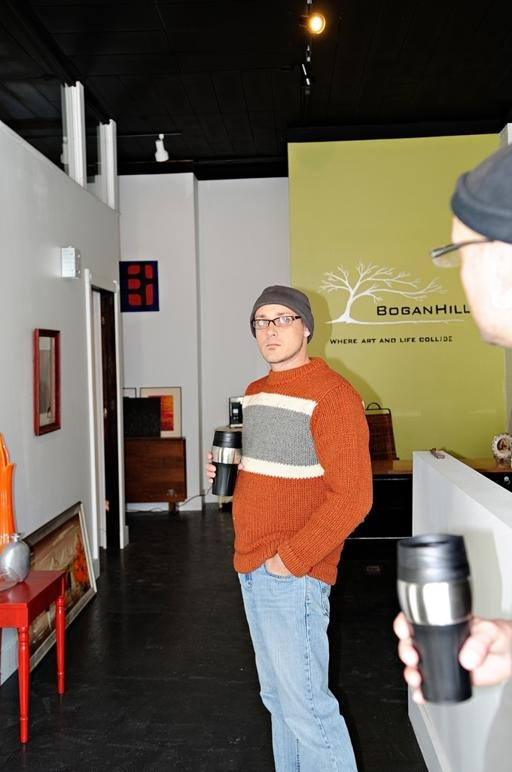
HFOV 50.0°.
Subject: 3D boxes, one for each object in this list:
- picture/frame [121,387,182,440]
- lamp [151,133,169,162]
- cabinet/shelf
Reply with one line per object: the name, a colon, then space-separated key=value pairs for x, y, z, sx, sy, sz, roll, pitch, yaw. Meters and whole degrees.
picture/frame: x=-1.155 y=0.335 z=6.167 sx=0.516 sy=0.557 sz=0.056 roll=-1 pitch=-8 yaw=0
lamp: x=-0.990 y=-2.483 z=5.703 sx=0.145 sy=0.270 sz=0.148 roll=30 pitch=52 yaw=28
cabinet/shelf: x=-1.116 y=0.965 z=6.042 sx=0.846 sy=0.875 sz=0.295 roll=0 pitch=2 yaw=-1
